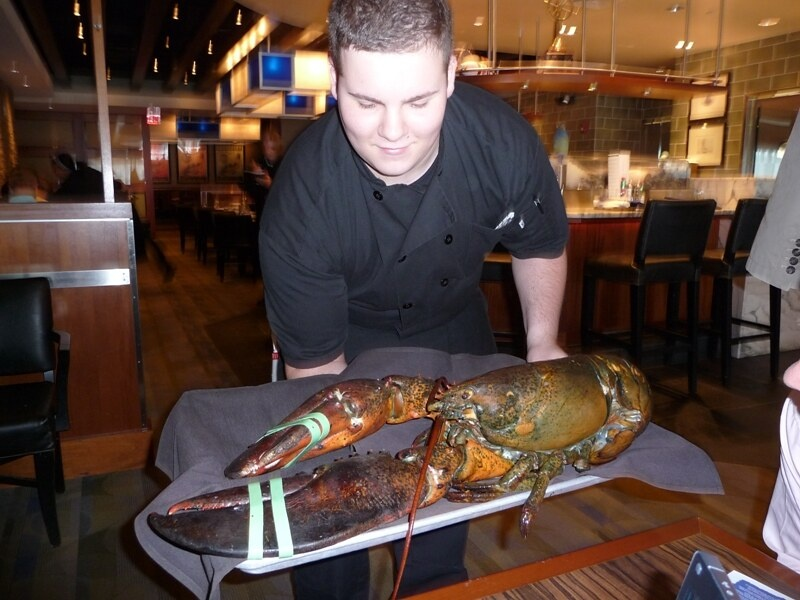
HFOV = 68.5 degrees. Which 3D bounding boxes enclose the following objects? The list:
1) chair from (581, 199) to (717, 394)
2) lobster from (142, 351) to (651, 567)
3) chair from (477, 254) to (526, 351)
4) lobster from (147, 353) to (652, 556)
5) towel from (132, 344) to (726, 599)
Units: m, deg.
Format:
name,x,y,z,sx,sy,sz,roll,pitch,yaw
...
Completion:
name,x,y,z,sx,sy,sz,roll,pitch,yaw
chair,1.578,-0.027,3.767,0.552,1.194,0.673,-3,8,-13
lobster,0.032,0.246,0.978,0.588,0.146,0.355,-17,37,-17
chair,0.801,0.026,4.302,0.278,0.455,0.487,-17,-9,30
lobster,0.027,0.250,0.968,0.609,0.122,0.350,-7,48,-17
towel,0.013,0.234,1.045,0.755,0.154,0.580,-11,20,-16
